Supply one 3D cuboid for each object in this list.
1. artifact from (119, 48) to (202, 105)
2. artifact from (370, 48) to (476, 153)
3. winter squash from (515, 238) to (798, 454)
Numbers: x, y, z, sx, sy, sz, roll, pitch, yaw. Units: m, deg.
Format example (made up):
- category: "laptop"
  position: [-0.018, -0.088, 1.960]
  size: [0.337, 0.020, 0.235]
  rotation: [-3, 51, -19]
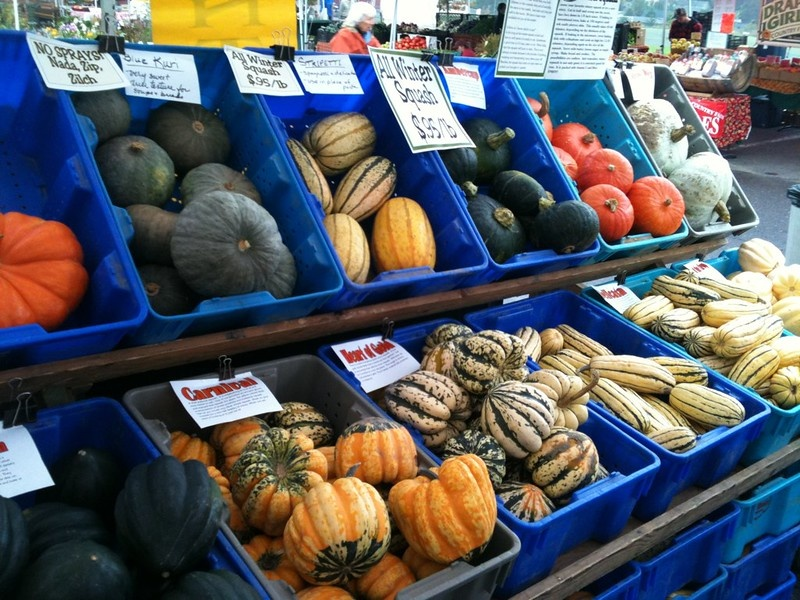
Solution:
- category: "artifact"
  position: [-0.909, -0.842, 2.104]
  size: [0.289, 0.209, 0.152]
  rotation: [-18, 32, -31]
- category: "artifact"
  position: [0.101, -0.925, 2.579]
  size: [0.385, 0.441, 0.396]
  rotation: [-16, 31, -29]
- category: "winter squash"
  position: [1.475, 0.151, 2.874]
  size: [1.045, 0.411, 1.278]
  rotation: [-22, 49, -24]
